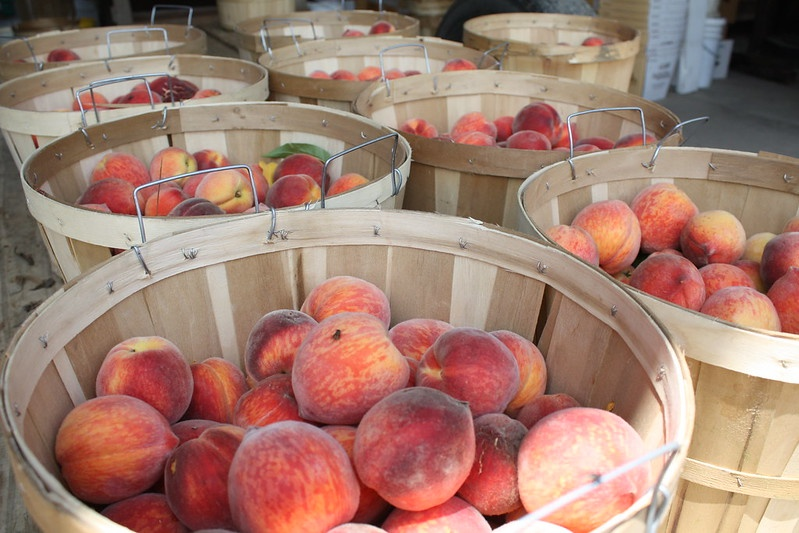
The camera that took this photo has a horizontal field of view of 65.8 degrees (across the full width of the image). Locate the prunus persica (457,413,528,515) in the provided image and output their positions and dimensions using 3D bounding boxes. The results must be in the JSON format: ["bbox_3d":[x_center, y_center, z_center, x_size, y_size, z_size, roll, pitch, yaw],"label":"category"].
[{"bbox_3d":[0.196,0.429,1.417,0.153,0.204,0.202,-2,12,4],"label":"prunus persica"}]

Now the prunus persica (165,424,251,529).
[{"bbox_3d":[-0.418,0.462,1.415,0.179,0.196,0.181,1,3,-1],"label":"prunus persica"}]

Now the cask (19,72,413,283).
[{"bbox_3d":[-0.620,-0.287,2.132,1.227,0.391,0.944,-6,31,-8],"label":"cask"}]

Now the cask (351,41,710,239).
[{"bbox_3d":[0.398,-0.603,2.648,0.947,0.549,1.051,1,30,-11],"label":"cask"}]

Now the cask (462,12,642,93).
[{"bbox_3d":[0.833,-1.207,3.473,0.622,0.341,0.614,-24,47,-39],"label":"cask"}]
